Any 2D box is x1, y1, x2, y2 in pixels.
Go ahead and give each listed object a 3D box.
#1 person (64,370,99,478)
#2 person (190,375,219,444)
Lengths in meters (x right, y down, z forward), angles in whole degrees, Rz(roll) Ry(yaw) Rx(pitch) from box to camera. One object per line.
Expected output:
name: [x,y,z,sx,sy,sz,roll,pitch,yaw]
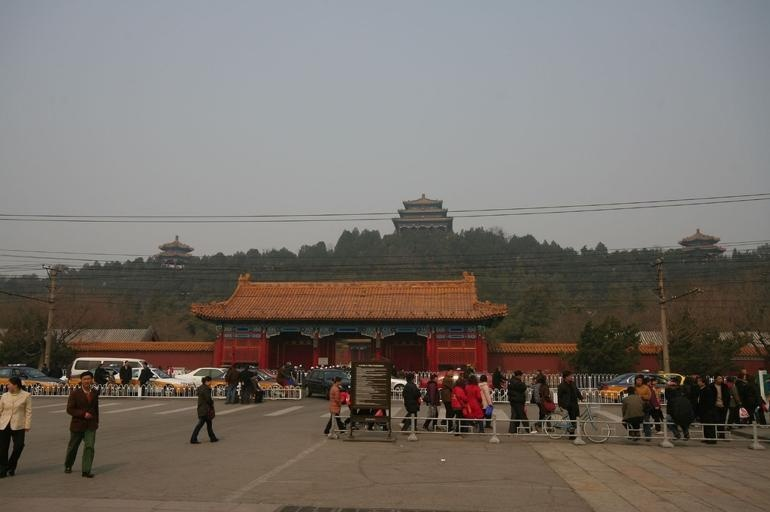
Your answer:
person: [-9.317,5.132,26.507,0.901,3.155,1.259,3,-13,-18]
person: [-6.301,5.325,30.103,1.181,2.215,0.908,2,-5,-28]
